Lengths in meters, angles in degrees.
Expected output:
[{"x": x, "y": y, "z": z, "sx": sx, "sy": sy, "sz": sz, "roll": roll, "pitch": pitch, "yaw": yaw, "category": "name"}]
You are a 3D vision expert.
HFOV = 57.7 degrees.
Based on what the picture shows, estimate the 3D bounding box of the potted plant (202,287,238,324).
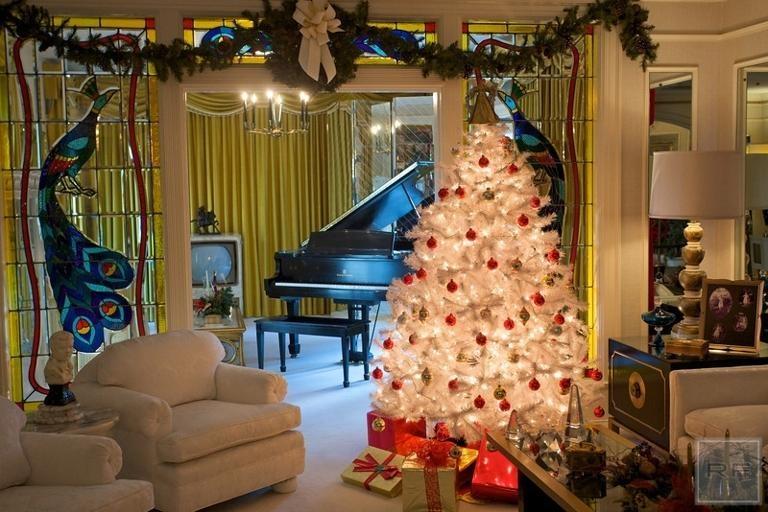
[{"x": -1.693, "y": 0.507, "z": 7.214, "sx": 0.356, "sy": 0.378, "sz": 0.338, "roll": 0, "pitch": 7, "yaw": -6, "category": "potted plant"}]

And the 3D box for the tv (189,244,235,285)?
[{"x": -2.328, "y": 0.086, "z": 9.312, "sx": 0.569, "sy": 0.522, "sz": 0.306, "roll": -1, "pitch": 1, "yaw": -24, "category": "tv"}]

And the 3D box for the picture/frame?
[{"x": 2.553, "y": 0.450, "z": 5.129, "sx": 0.509, "sy": 0.690, "sz": 0.048, "roll": 2, "pitch": -8, "yaw": 32, "category": "picture/frame"}]

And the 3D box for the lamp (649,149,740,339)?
[{"x": 2.422, "y": -0.098, "z": 5.380, "sx": 0.643, "sy": 1.426, "sz": 0.438, "roll": -2, "pitch": 3, "yaw": -21, "category": "lamp"}]
